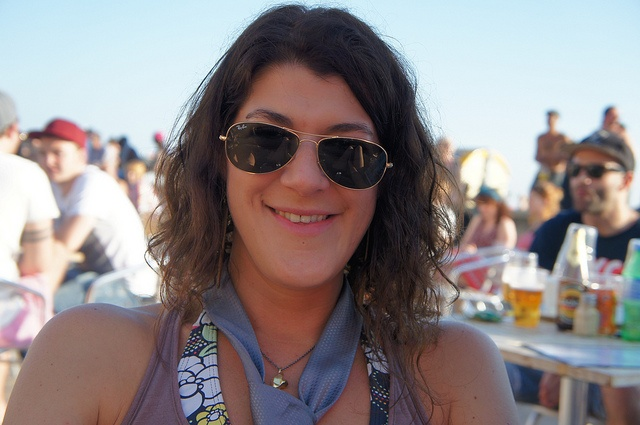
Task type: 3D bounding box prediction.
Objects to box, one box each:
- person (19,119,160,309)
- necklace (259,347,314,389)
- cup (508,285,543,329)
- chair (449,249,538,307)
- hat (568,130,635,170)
[{"bbox_3d":[-2.107,0.173,5.974,0.999,1.907,0.730,-5,24,-38],"label":"person"},{"bbox_3d":[-0.173,0.767,3.463,0.176,0.053,0.196,5,43,5],"label":"necklace"},{"bbox_3d":[1.259,0.572,4.362,0.190,0.245,0.207,3,-11,1],"label":"cup"},{"bbox_3d":[1.289,0.494,5.277,0.295,0.438,0.301,-20,25,-40],"label":"chair"},{"bbox_3d":[1.738,-0.379,4.302,0.538,0.238,0.269,3,0,-14],"label":"hat"}]
